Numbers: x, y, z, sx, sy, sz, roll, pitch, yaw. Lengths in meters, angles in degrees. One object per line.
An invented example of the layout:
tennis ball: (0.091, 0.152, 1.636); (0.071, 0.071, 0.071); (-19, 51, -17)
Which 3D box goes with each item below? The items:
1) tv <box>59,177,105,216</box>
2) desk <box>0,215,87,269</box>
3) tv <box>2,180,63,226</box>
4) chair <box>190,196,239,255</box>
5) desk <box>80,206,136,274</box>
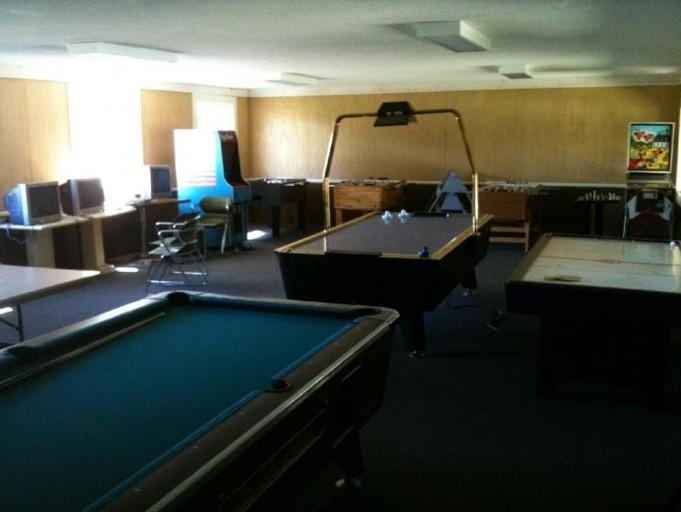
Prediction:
tv: (-3.446, -0.755, 6.999); (0.422, 0.487, 0.651); (4, 12, 3)
desk: (-3.469, -0.171, 6.397); (0.785, 0.612, 0.724); (1, 5, 20)
tv: (-3.495, -0.611, 6.315); (0.579, 0.562, 0.734); (4, 10, 14)
chair: (-2.029, -0.496, 8.510); (0.736, 0.763, 0.584); (6, 22, 11)
desk: (-3.222, -0.214, 7.388); (0.565, 0.560, 0.938); (8, 18, 15)
